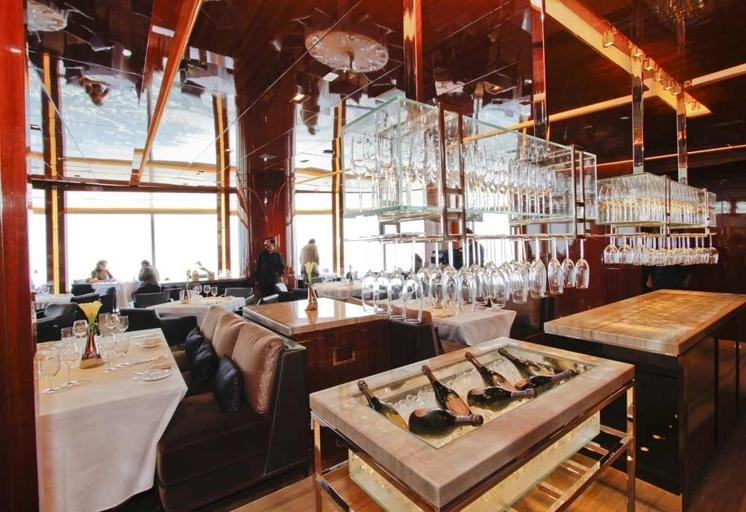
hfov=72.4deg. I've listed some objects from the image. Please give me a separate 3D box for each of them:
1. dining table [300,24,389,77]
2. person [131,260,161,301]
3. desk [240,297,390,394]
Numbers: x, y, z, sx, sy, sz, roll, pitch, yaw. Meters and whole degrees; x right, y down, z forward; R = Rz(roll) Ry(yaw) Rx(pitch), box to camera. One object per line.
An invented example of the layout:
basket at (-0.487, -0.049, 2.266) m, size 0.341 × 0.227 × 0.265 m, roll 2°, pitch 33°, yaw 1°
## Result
dining table at (-0.274, -2.180, 5.467) m, size 0.890 × 0.286 × 0.746 m, roll -4°, pitch 1°, yaw -6°
person at (-4.364, 0.457, 9.871) m, size 0.461 × 0.761 × 0.423 m, roll 0°, pitch 1°, yaw 8°
desk at (-0.504, 0.869, 5.408) m, size 0.891 × 0.676 × 1.310 m, roll -3°, pitch 3°, yaw -35°
